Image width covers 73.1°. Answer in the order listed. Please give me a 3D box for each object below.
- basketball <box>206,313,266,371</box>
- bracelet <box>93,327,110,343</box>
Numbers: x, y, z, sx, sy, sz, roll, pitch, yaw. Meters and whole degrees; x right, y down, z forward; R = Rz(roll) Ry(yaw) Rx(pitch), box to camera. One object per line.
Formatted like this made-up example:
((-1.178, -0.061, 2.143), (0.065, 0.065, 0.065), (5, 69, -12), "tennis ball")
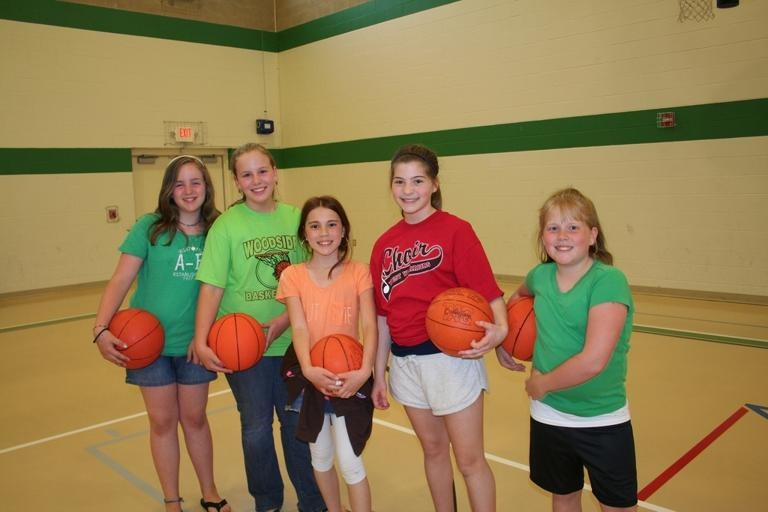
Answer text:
((-1.021, 0.603, 3.788), (0.393, 0.417, 0.397), (0, 0, 2), "basketball")
((-2.114, 0.602, 3.843), (0.046, 0.120, 0.107), (27, 15, 4), "bracelet")
